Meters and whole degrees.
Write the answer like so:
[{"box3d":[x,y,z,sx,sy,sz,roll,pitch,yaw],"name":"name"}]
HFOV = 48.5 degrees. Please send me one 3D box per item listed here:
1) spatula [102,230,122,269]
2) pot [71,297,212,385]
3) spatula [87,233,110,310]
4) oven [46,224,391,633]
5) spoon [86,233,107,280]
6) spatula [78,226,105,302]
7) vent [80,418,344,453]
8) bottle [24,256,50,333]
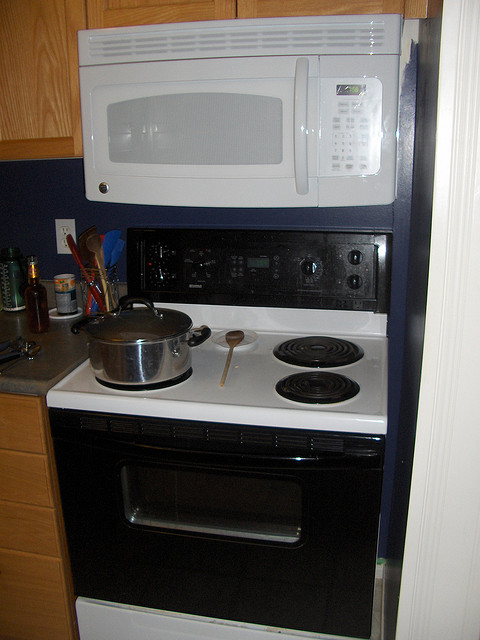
[{"box3d":[-0.355,-0.194,1.477,0.032,0.019,0.129,-6,-29,-31],"name":"spatula"},{"box3d":[-0.208,0.052,1.166,0.244,0.133,0.189,1,15,2],"name":"pot"},{"box3d":[-0.381,-0.132,1.423,0.025,0.196,0.033,-3,-2,-37],"name":"spatula"},{"box3d":[-0.017,0.262,1.321,0.722,0.920,0.555,2,15,16],"name":"oven"},{"box3d":[-0.386,-0.161,1.428,0.033,0.146,0.020,-23,43,-26],"name":"spoon"},{"box3d":[-0.398,-0.139,1.480,0.043,0.250,0.041,8,45,23],"name":"spatula"},{"box3d":[-0.068,0.229,1.057,0.539,0.038,0.009,1,14,12],"name":"vent"},{"box3d":[-0.550,-0.072,1.432,0.058,0.204,0.059,3,21,-1],"name":"bottle"}]
